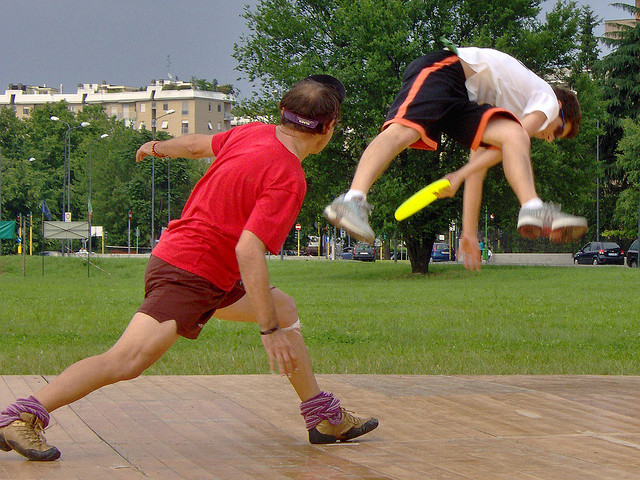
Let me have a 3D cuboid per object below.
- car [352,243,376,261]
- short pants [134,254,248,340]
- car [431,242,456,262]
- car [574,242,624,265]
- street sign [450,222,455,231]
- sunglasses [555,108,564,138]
[{"bbox_3d":[3.071,0.862,59.419,1.063,0.825,1.743,1,8,3],"label":"car"},{"bbox_3d":[-0.955,0.377,6.247,0.679,0.256,0.708,35,39,1],"label":"short pants"},{"bbox_3d":[8.820,0.983,60.546,1.685,1.394,2.816,0,5,3],"label":"car"},{"bbox_3d":[16.570,0.764,50.095,1.250,0.837,2.008,0,5,-23],"label":"car"},{"bbox_3d":[6.607,-0.698,42.293,0.224,0.279,0.305,-3,-2,18],"label":"street sign"},{"bbox_3d":[1.932,-0.952,6.831,0.068,0.230,0.122,0,1,15],"label":"sunglasses"}]
